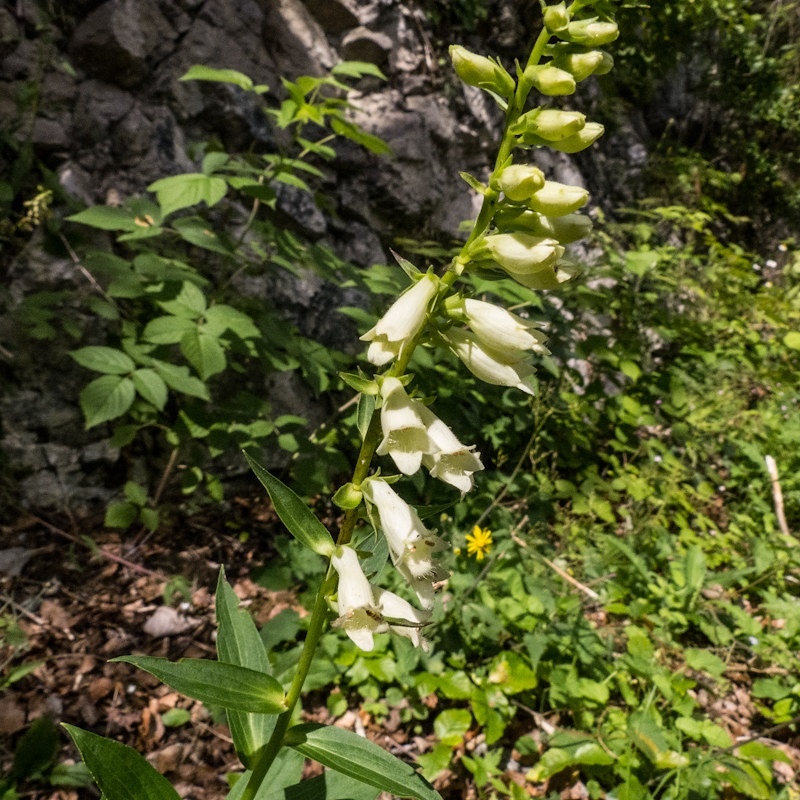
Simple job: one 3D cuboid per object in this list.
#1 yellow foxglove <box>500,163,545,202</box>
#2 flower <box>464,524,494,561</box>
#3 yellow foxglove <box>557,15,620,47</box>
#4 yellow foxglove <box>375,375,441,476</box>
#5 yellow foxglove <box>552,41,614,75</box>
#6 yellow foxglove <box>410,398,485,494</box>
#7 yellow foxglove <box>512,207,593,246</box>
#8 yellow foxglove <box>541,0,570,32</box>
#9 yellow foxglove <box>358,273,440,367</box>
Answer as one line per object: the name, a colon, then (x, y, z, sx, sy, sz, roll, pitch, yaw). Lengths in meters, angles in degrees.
yellow foxglove: (0.442, -0.806, 2.867, 0.152, 0.108, 0.119, 28, 14, 18)
flower: (0.451, 0.833, 4.543, 0.258, 0.185, 0.058, -1, -10, -22)
yellow foxglove: (0.726, -1.398, 2.915, 0.232, 0.110, 0.087, -1, 27, -6)
yellow foxglove: (0.036, 0.089, 2.944, 0.236, 0.348, 0.149, -9, 8, 7)
yellow foxglove: (0.684, -1.298, 2.932, 0.256, 0.060, 0.110, -4, 45, -5)
yellow foxglove: (0.191, 0.196, 3.108, 0.434, 0.216, 0.161, 55, 8, -19)
yellow foxglove: (0.529, -0.675, 2.987, 0.404, 0.092, 0.118, 6, 28, 10)
yellow foxglove: (0.572, -1.421, 2.885, 0.106, 0.098, 0.097, 2, -18, -6)
yellow foxglove: (0.009, -0.297, 2.978, 0.245, 0.409, 0.166, 43, 8, 4)
